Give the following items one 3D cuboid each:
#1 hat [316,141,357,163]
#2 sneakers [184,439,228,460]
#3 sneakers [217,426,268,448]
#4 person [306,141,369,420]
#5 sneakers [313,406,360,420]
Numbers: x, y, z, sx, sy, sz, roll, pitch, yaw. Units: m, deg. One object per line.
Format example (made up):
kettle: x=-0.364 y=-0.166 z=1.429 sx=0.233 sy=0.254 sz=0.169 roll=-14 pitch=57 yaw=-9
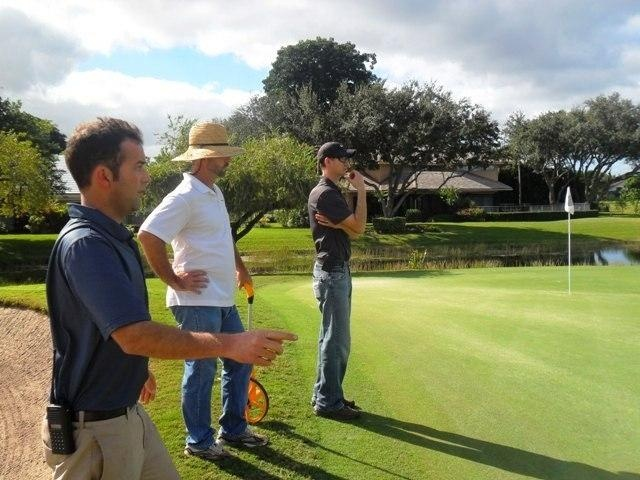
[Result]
hat: x=0.138 y=-0.868 z=5.081 sx=0.302 sy=0.160 sz=0.204 roll=-10 pitch=15 yaw=-5
sneakers: x=-0.884 y=1.671 z=4.119 sx=0.339 sy=0.180 sz=0.138 roll=1 pitch=-2 yaw=0
sneakers: x=-0.654 y=1.635 z=4.385 sx=0.391 sy=0.194 sz=0.156 roll=1 pitch=-4 yaw=-3
person: x=0.154 y=0.333 z=5.000 sx=0.574 sy=2.533 sz=0.888 roll=-1 pitch=8 yaw=4
sneakers: x=0.164 y=1.588 z=4.758 sx=0.367 sy=0.172 sz=0.142 roll=-2 pitch=0 yaw=2
